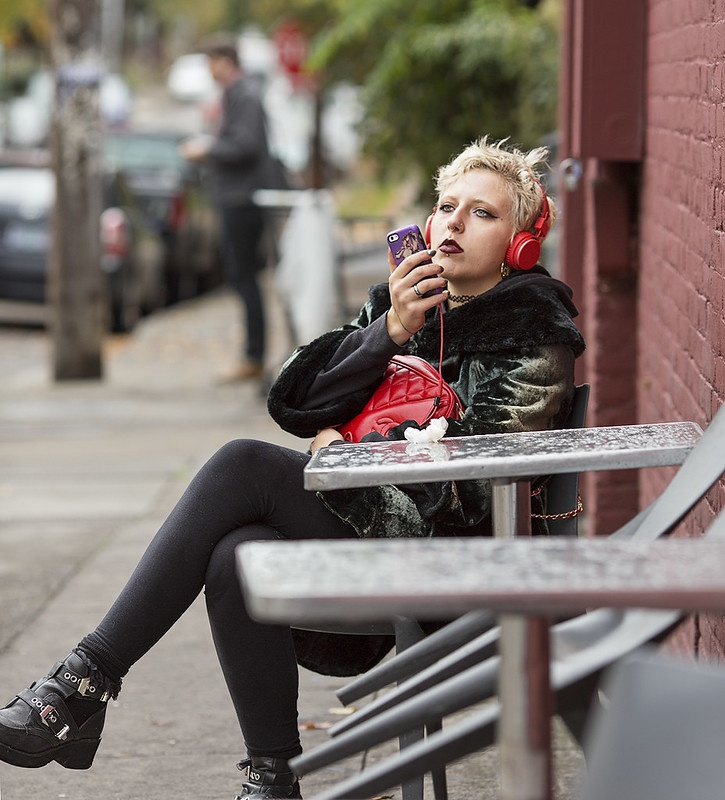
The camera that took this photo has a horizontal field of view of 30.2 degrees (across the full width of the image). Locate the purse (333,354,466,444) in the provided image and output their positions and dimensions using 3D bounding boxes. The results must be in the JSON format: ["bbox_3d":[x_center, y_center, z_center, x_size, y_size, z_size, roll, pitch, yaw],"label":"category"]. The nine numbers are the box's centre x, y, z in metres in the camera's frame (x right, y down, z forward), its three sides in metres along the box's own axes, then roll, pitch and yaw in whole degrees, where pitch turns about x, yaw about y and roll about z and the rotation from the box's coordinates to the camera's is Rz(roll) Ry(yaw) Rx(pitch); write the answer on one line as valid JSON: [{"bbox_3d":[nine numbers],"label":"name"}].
[{"bbox_3d":[0.057,-0.006,2.393,0.207,0.078,0.135,-8,48,47],"label":"purse"}]

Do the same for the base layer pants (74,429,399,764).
[{"bbox_3d":[-0.222,0.338,2.266,0.465,0.523,0.230,-11,15,-36],"label":"base layer pants"}]

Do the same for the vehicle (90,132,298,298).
[{"bbox_3d":[-0.988,-0.916,6.528,0.815,0.892,0.934,0,4,-28],"label":"vehicle"}]
